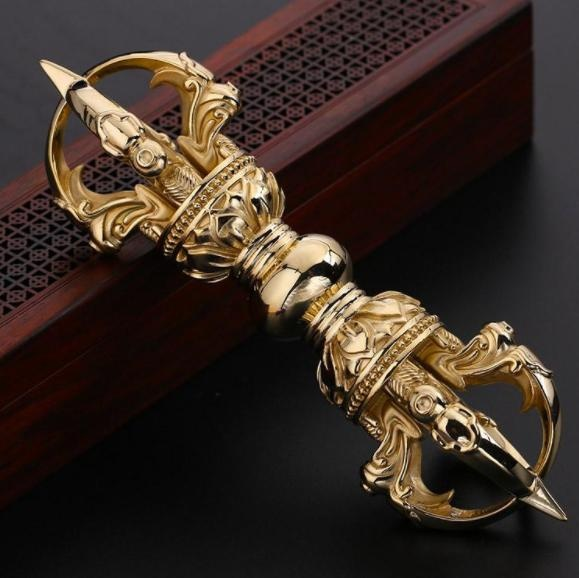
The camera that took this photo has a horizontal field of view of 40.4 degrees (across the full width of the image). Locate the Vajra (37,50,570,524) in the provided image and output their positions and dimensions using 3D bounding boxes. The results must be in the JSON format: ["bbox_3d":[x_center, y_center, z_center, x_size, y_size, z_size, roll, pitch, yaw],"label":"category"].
[{"bbox_3d":[-0.004,-0.009,0.783,0.234,0.433,0.549,-44,45,2],"label":"Vajra"}]
